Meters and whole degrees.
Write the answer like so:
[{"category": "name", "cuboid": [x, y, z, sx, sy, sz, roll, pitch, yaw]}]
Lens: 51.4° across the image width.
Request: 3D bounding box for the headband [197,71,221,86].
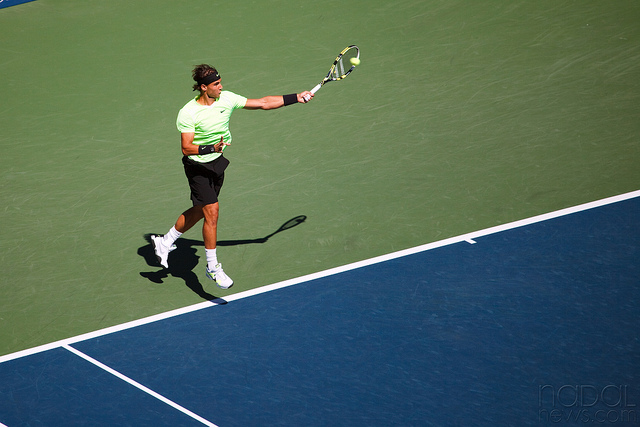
[{"category": "headband", "cuboid": [-1.542, -1.834, 9.121, 0.295, 0.076, 0.209, -17, 4, 6]}]
